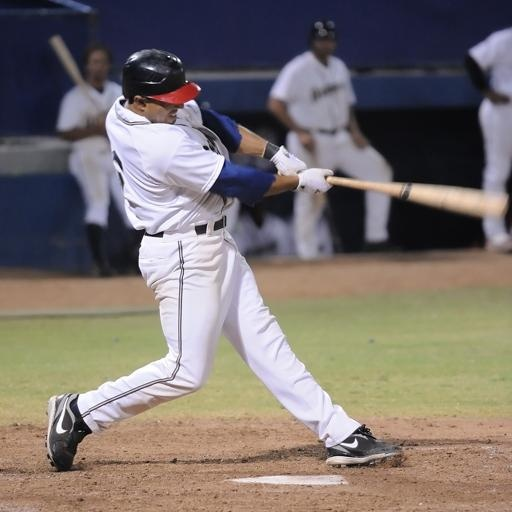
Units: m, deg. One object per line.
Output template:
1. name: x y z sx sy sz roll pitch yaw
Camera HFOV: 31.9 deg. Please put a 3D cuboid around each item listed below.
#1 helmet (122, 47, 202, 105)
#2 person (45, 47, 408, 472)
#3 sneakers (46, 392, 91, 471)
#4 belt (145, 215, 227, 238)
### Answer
1. helmet: -0.346 -0.649 3.247 0.321 0.119 0.189 5 33 8
2. person: -0.205 0.016 3.407 1.311 1.589 0.569 -5 14 5
3. sneakers: -0.692 0.663 3.445 0.222 0.297 0.122 -6 -7 4
4. belt: -0.265 -0.107 3.313 0.313 0.062 0.138 -4 10 -4
